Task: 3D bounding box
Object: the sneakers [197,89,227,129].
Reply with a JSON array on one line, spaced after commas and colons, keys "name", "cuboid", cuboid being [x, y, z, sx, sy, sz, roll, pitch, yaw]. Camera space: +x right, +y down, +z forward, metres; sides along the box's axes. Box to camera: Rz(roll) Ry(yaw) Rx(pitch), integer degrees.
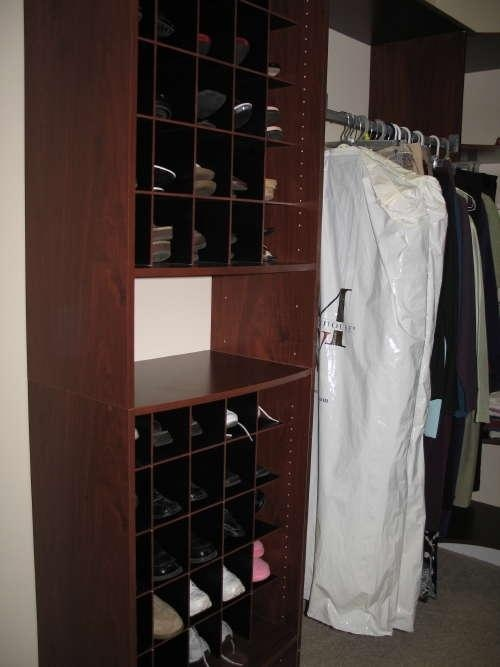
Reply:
[{"name": "sneakers", "cuboid": [-0.090, -0.508, 1.256, 0.066, 0.068, 0.179, 1, 3, -6]}]
